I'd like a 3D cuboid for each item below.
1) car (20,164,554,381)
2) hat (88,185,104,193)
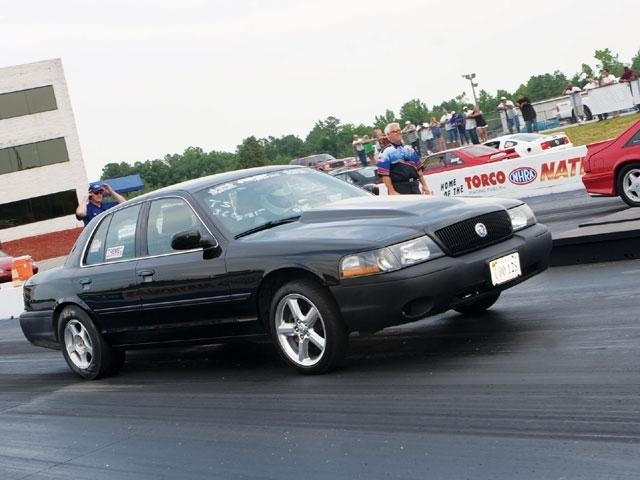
[{"bbox_3d":[-0.860,0.571,5.905,5.435,1.430,2.465,-11,1,31],"label":"car"},{"bbox_3d":[-3.740,-0.874,8.708,0.146,0.099,0.211,-8,-6,-38],"label":"hat"}]
